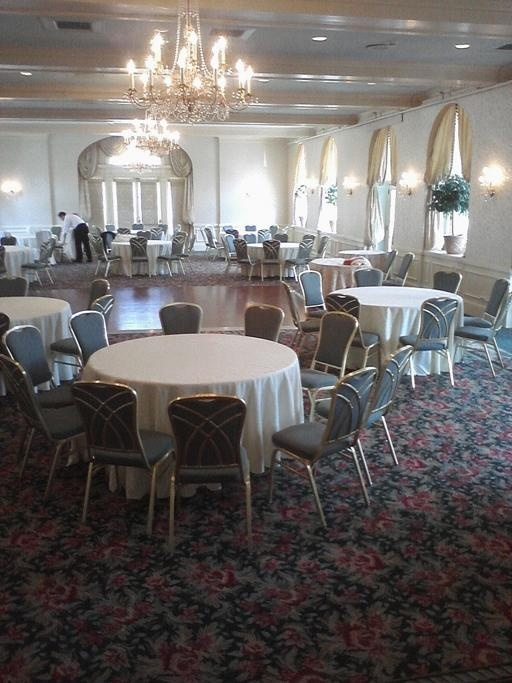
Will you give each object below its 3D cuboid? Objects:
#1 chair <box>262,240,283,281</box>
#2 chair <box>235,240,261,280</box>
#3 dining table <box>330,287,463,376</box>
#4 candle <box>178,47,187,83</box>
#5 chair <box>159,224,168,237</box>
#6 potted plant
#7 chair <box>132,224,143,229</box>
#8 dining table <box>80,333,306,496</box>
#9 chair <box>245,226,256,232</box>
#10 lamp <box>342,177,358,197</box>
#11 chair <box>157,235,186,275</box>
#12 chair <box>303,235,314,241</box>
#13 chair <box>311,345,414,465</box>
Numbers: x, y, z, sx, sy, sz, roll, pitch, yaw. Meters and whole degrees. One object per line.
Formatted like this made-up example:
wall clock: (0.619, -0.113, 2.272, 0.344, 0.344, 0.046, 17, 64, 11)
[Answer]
chair: (0.360, -1.935, 11.686, 0.498, 0.906, 0.565, 0, 9, 1)
chair: (-0.264, -1.992, 11.807, 0.556, 0.980, 0.796, -7, 11, -37)
dining table: (1.556, -0.243, 5.208, 1.119, 0.590, 1.084, -9, 16, -28)
candle: (-0.594, -2.239, 3.979, 0.053, 0.235, 0.196, -3, 9, -13)
chair: (-2.741, -3.280, 14.551, 0.352, 0.159, 0.600, 2, 28, -1)
potted plant: (3.260, -2.162, 8.355, 0.654, 1.325, 1.211, 3, 9, 20)
chair: (-3.776, -3.652, 15.644, 0.313, 0.177, 0.208, -4, 10, -24)
dining table: (-0.318, 0.454, 2.884, 1.066, 0.465, 1.030, 2, 9, 3)
chair: (-0.161, -3.598, 15.683, 0.314, 0.183, 0.302, -1, 9, -4)
lamp: (2.341, -3.808, 12.106, 0.440, 0.601, 0.430, 0, 16, -1)
chair: (-2.020, -2.112, 12.251, 0.617, 0.906, 1.029, 1, 9, 12)
chair: (1.251, -2.433, 11.702, 0.305, 0.162, 0.511, -1, 12, 2)
chair: (0.701, 0.428, 3.183, 0.625, 0.976, 0.529, 10, 18, 34)
